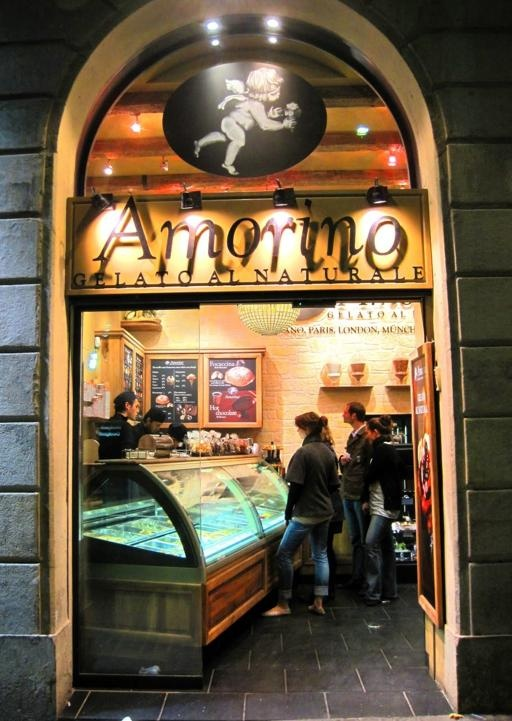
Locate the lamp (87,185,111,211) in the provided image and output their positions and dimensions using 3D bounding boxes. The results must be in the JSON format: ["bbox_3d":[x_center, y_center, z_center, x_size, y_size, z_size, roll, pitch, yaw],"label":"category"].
[{"bbox_3d":[-0.962,-1.012,4.408,0.141,0.122,0.146,-3,6,-5],"label":"lamp"}]

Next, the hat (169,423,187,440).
[{"bbox_3d":[-0.516,0.473,4.602,0.046,0.111,0.139,-4,-5,43],"label":"hat"}]

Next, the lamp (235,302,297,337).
[{"bbox_3d":[0.116,-0.439,7.177,0.401,0.245,0.372,-7,-9,35],"label":"lamp"}]

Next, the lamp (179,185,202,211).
[{"bbox_3d":[-0.402,-1.008,4.398,0.114,0.137,0.140,6,13,13],"label":"lamp"}]

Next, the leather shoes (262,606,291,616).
[{"bbox_3d":[0.167,1.985,5.560,0.208,0.126,0.074,4,-25,-4],"label":"leather shoes"}]

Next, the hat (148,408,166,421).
[{"bbox_3d":[-0.642,0.348,4.554,0.095,0.094,0.079,-10,1,35],"label":"hat"}]

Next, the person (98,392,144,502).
[{"bbox_3d":[-0.839,0.537,4.422,0.305,0.680,0.155,-1,-4,7],"label":"person"}]

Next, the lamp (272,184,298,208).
[{"bbox_3d":[0.175,-1.014,4.387,0.155,0.129,0.254,2,0,-4],"label":"lamp"}]

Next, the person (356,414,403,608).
[{"bbox_3d":[1.074,1.278,6.021,0.319,1.549,0.599,-1,-4,9],"label":"person"}]

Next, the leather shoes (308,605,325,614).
[{"bbox_3d":[0.479,1.987,5.632,0.137,0.052,0.050,3,-5,45],"label":"leather shoes"}]

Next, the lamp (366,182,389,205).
[{"bbox_3d":[0.757,-1.039,4.396,0.112,0.135,0.135,2,29,11],"label":"lamp"}]

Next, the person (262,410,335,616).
[{"bbox_3d":[0.404,1.225,5.728,0.443,1.599,0.652,-3,-5,34],"label":"person"}]
